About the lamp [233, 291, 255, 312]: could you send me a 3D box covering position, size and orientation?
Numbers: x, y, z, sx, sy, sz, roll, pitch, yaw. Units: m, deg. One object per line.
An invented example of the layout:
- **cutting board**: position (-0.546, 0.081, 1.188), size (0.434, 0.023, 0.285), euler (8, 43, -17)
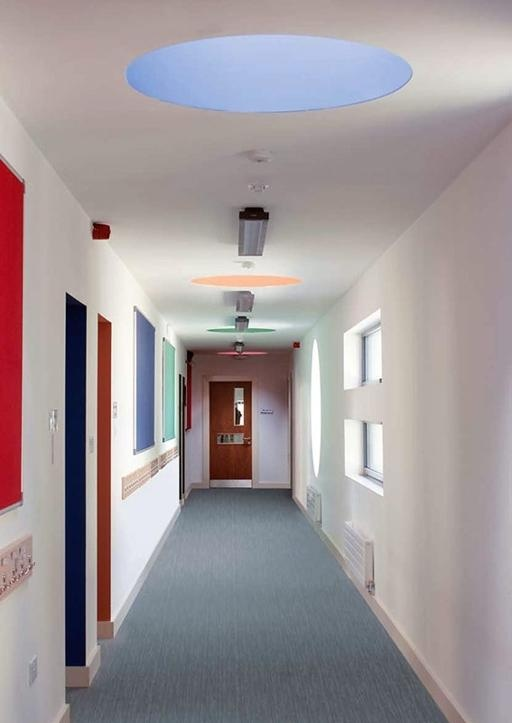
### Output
- **lamp**: position (-0.143, -0.723, 5.744), size (0.127, 0.193, 0.219), euler (-1, -8, -8)

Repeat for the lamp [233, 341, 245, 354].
- **lamp**: position (-0.375, -0.305, 9.945), size (0.187, 0.244, 0.181), euler (1, 0, 15)

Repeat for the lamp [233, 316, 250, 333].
- **lamp**: position (-0.221, -0.561, 7.245), size (0.140, 0.291, 0.172), euler (-1, -2, 0)
